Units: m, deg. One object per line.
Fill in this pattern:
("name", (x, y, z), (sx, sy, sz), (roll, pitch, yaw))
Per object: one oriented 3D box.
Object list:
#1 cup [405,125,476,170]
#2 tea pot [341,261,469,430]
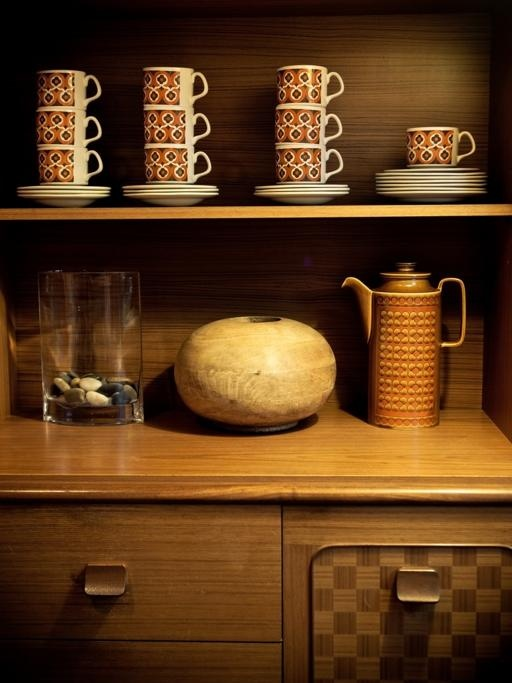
("cup", (0.304, -0.329, 1.164), (0.124, 0.060, 0.084), (1, 10, 3))
("tea pot", (0.236, 0.016, 1.186), (0.167, 0.272, 0.065), (1, 8, 5))
